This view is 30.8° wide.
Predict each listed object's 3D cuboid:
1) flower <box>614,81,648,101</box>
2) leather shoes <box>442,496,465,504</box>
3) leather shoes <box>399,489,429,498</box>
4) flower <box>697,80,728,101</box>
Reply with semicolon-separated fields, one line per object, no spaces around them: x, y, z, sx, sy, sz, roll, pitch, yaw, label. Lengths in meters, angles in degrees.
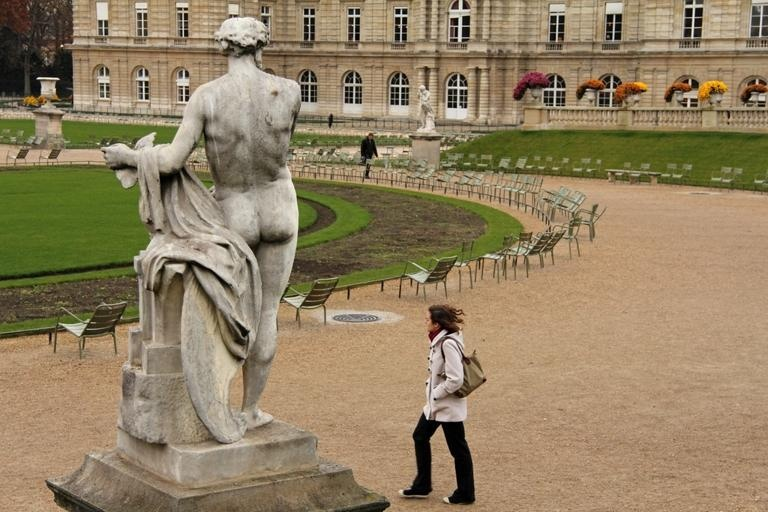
10.409;-6.895;58.690;1.289;0.728;1.526;4;10;33;flower
1.165;4.067;23.248;0.385;0.124;0.129;1;1;8;leather shoes
0.504;3.961;23.332;0.499;0.173;0.165;3;0;4;leather shoes
13.567;-6.883;57.831;1.418;0.693;1.185;-2;4;12;flower
